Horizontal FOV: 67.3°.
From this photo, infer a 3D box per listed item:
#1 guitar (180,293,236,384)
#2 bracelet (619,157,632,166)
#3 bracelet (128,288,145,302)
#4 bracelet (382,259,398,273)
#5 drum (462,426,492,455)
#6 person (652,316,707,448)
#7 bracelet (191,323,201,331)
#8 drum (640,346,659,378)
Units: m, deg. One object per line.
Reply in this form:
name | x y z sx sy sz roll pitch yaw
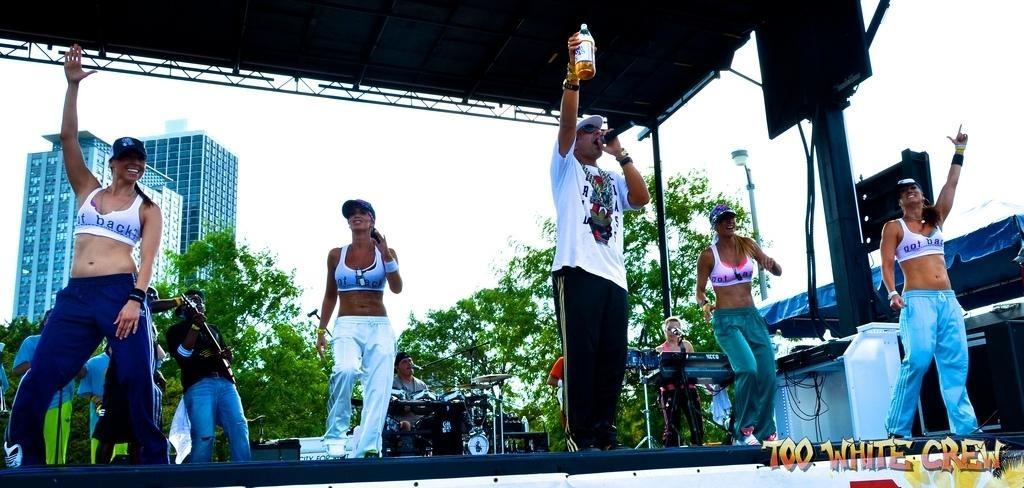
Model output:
guitar | -5.845 1.732 14.100 0.618 2.015 0.982 -26 17 -11
bracelet | 1.863 -1.375 12.632 0.237 0.132 0.200 4 -28 -4
bracelet | -5.983 0.812 12.268 0.253 0.163 0.234 -2 -7 -25
bracelet | -2.192 0.392 13.874 0.258 0.178 0.233 -3 -11 10
drum | -0.863 4.830 18.823 0.481 0.528 0.801 2 8 15
person | 3.554 2.993 16.194 1.123 2.818 1.408 1 0 7
bracelet | -5.709 1.493 13.884 0.116 0.028 0.121 30 -44 -28
drum | 2.793 2.381 15.676 0.588 0.439 0.370 0 -2 3
